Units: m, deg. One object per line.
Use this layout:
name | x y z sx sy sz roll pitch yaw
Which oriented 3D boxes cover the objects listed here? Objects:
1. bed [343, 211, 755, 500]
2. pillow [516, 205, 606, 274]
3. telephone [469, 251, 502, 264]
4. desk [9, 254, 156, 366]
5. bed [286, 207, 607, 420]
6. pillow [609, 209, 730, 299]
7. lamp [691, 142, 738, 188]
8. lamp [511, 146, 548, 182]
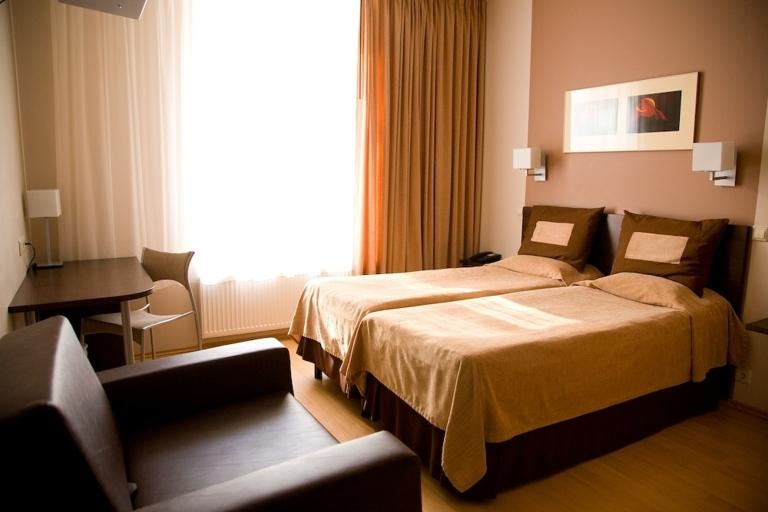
bed | 1.119 0.897 4.078 2.076 1.356 2.077 -8 15 -29
pillow | 1.641 -0.175 5.223 0.337 0.603 0.733 -1 10 -44
telephone | 1.072 0.023 5.837 0.190 0.080 0.202 3 12 30
desk | -2.171 0.210 3.902 0.683 0.276 1.126 -6 16 -27
bed | 0.502 0.263 5.007 2.437 1.421 1.507 -5 11 -25
pillow | 2.313 -0.002 4.352 0.665 0.311 0.571 1 51 54
lamp | 2.622 -0.706 4.267 0.252 0.358 0.215 -2 9 -12
lamp | 1.472 -0.917 5.507 0.313 0.335 0.292 10 17 38
